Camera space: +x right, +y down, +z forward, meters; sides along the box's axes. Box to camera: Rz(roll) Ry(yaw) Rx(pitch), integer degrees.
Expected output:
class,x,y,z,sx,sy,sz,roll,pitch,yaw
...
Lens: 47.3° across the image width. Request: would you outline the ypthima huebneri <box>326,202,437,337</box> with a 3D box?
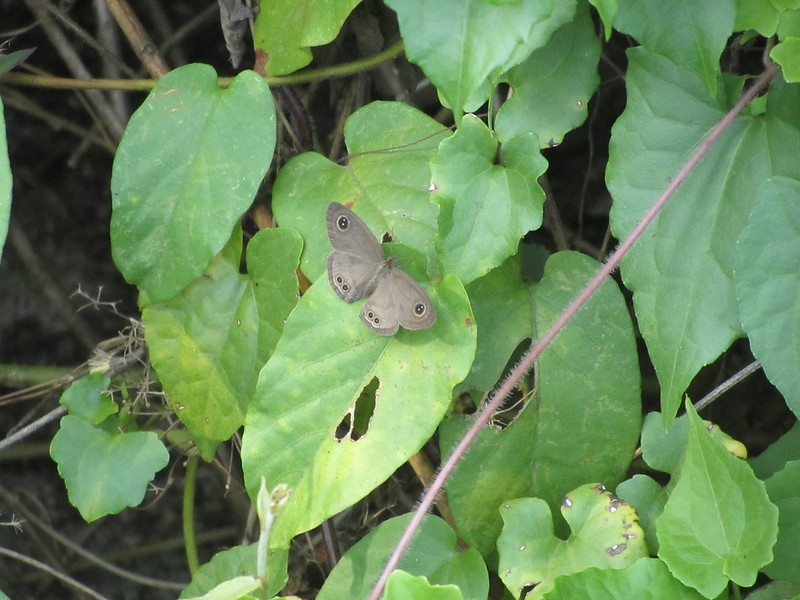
class,x,y,z,sx,sy,sz,roll,pitch,yaw
ypthima huebneri,-0.052,-0.056,1.731,0.259,0.189,0.121,19,43,36
